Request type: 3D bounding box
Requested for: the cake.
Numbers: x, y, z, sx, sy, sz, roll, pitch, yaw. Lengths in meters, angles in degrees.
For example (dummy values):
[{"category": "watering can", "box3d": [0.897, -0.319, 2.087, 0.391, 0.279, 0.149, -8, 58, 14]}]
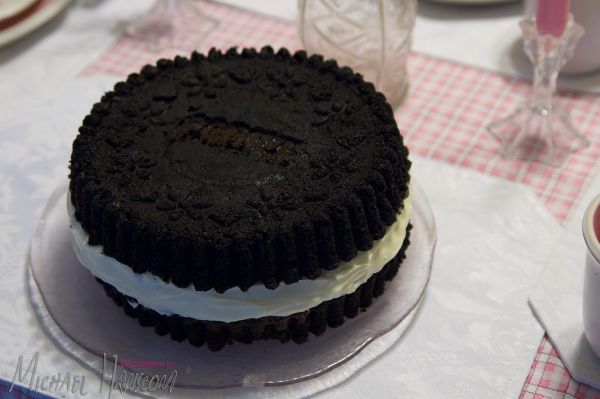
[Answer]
[{"category": "cake", "box3d": [-0.210, -0.021, 2.090, 1.178, 0.556, 1.024, -28, 54, -14]}]
